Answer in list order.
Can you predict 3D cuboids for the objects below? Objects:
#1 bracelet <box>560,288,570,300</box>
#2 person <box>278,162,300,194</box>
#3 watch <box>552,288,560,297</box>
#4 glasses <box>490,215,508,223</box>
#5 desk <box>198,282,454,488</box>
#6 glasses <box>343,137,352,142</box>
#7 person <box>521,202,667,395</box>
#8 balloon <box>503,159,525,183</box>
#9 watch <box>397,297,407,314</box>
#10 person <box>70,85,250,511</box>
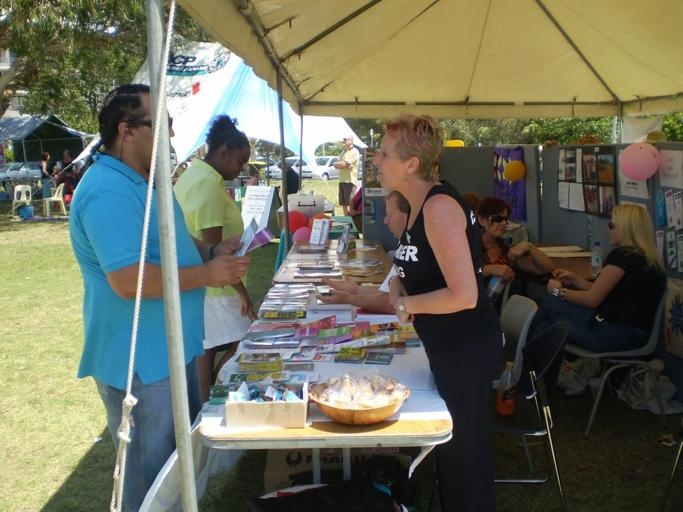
[{"bbox_3d":[1.715,0.288,4.269,0.046,0.080,0.070,1,8,19],"label":"bracelet"},{"bbox_3d":[-1.040,-1.632,11.440,0.382,0.394,1.211,-21,-16,-9],"label":"person"},{"bbox_3d":[1.677,0.281,4.341,0.044,0.082,0.083,-2,3,-19],"label":"watch"},{"bbox_3d":[1.312,-0.309,4.624,0.068,0.077,0.025,3,49,4],"label":"glasses"},{"bbox_3d":[-0.069,0.680,2.424,1.009,0.275,0.623,1,13,-6],"label":"desk"},{"bbox_3d":[0.137,-2.447,11.618,0.178,0.073,0.131,4,6,-14],"label":"glasses"},{"bbox_3d":[1.909,0.366,4.359,1.036,1.602,0.609,13,0,43],"label":"person"},{"bbox_3d":[2.047,-0.994,6.541,0.220,0.281,0.348,11,15,37],"label":"balloon"},{"bbox_3d":[0.274,0.225,2.496,0.024,0.062,0.044,-1,17,-1],"label":"watch"},{"bbox_3d":[-0.853,0.199,2.552,0.644,1.928,0.540,-8,15,-39],"label":"person"}]
